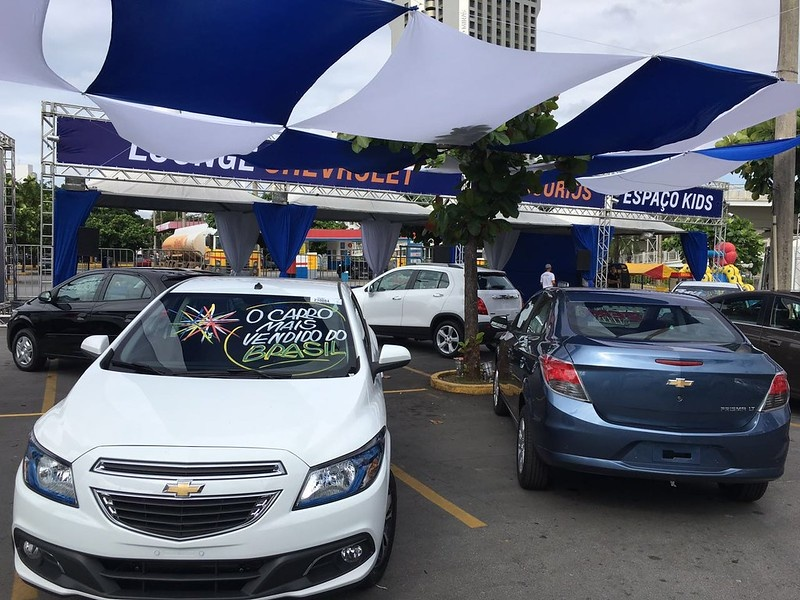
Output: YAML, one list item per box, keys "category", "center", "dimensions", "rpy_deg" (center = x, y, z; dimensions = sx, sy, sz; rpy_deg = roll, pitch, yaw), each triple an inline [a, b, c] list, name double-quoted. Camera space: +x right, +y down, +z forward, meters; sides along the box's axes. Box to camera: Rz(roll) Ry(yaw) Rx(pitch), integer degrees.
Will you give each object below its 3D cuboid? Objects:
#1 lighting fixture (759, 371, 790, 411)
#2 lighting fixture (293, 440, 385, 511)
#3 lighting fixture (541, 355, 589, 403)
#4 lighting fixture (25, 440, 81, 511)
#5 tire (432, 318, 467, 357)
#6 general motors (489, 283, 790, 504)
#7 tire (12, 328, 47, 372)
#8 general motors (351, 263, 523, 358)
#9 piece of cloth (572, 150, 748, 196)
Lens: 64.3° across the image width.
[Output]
- category: "lighting fixture"
  center: [3.011, 0.741, 5.119]
  dimensions: [0.197, 0.344, 0.149]
  rpy_deg: [5, 13, 13]
- category: "lighting fixture"
  center: [-0.381, 1.061, 3.964]
  dimensions: [0.785, 0.314, 0.259]
  rpy_deg: [2, -1, -44]
- category: "lighting fixture"
  center: [1.338, 0.647, 5.275]
  dimensions: [0.244, 0.130, 0.351]
  rpy_deg: [10, 18, -13]
- category: "lighting fixture"
  center: [-2.148, 1.100, 3.963]
  dimensions: [0.267, 0.163, 0.377]
  rpy_deg: [25, -4, -9]
- category: "tire"
  center: [0.972, 0.691, 12.069]
  dimensions: [0.271, 0.790, 0.741]
  rpy_deg: [0, 3, -38]
- category: "general motors"
  center: [2.114, 0.536, 5.748]
  dimensions: [1.508, 1.035, 2.576]
  rpy_deg: [1, 4, 4]
- category: "tire"
  center: [-6.025, 0.818, 10.396]
  dimensions: [0.631, 0.677, 0.232]
  rpy_deg: [5, 4, 24]
- category: "general motors"
  center: [0.727, 0.087, 13.152]
  dimensions: [3.129, 1.347, 1.782]
  rpy_deg: [7, 6, 37]
- category: "piece of cloth"
  center: [5.330, -2.569, 13.110]
  dimensions: [1.841, 0.566, 1.914]
  rpy_deg: [6, 13, 40]
